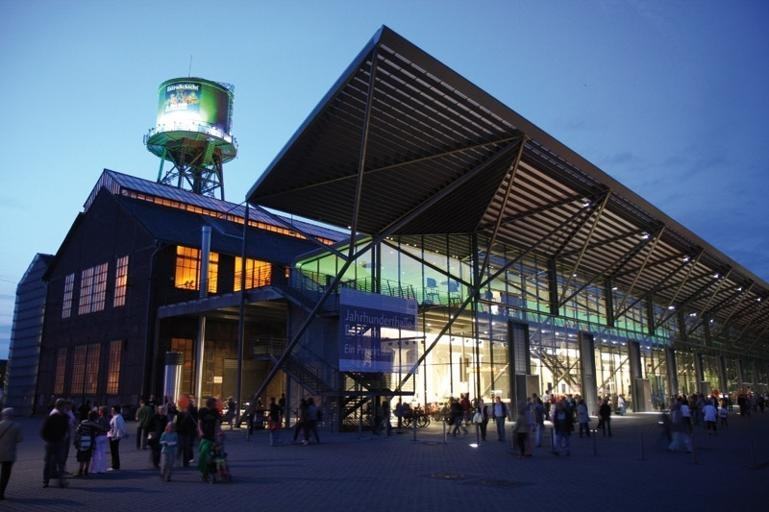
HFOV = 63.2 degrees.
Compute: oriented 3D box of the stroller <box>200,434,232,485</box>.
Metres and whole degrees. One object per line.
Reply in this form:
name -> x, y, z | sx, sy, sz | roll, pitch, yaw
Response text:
stroller -> -5.727, 6.886, 21.462 | 1.046, 1.562, 0.994 | -6, -12, 30
